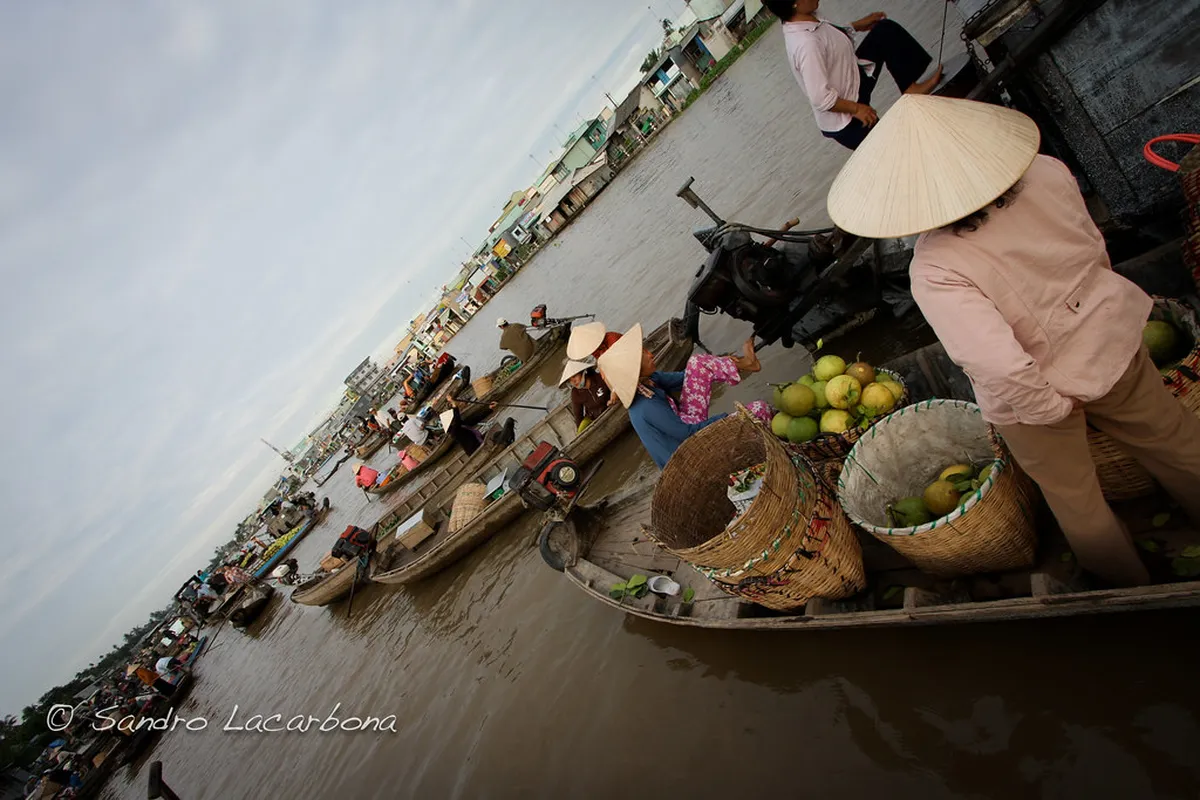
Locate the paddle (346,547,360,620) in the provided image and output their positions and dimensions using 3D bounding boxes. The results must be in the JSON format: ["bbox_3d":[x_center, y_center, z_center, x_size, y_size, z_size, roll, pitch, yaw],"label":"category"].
[{"bbox_3d":[-5.445,4.032,15.892,0.139,0.090,1.979,-32,-35,-60],"label":"paddle"}]

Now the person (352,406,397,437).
[{"bbox_3d":[-11.748,1.151,37.202,1.899,1.067,0.975,14,72,56],"label":"person"}]

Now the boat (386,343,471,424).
[{"bbox_3d":[-6.277,-0.675,27.657,3.727,1.774,1.398,-39,-29,17],"label":"boat"}]

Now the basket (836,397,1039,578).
[{"bbox_3d":[3.227,0.869,6.870,1.506,1.650,1.759,-16,39,45],"label":"basket"}]

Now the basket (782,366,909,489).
[{"bbox_3d":[2.776,0.529,7.856,1.098,0.908,1.192,-34,-5,-16],"label":"basket"}]

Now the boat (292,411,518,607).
[{"bbox_3d":[-5.151,2.861,18.909,6.337,1.090,1.216,-50,20,-17],"label":"boat"}]

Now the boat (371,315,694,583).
[{"bbox_3d":[-1.514,1.007,14.235,8.197,1.210,1.852,-47,32,4],"label":"boat"}]

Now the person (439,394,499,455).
[{"bbox_3d":[-3.379,0.684,18.785,0.637,1.415,1.855,-49,-19,4],"label":"person"}]

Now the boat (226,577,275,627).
[{"bbox_3d":[-10.383,6.109,21.652,1.054,0.523,1.496,-43,7,18],"label":"boat"}]

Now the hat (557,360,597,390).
[{"bbox_3d":[-0.290,-0.386,9.337,0.349,0.158,0.362,-29,-5,9],"label":"hat"}]
